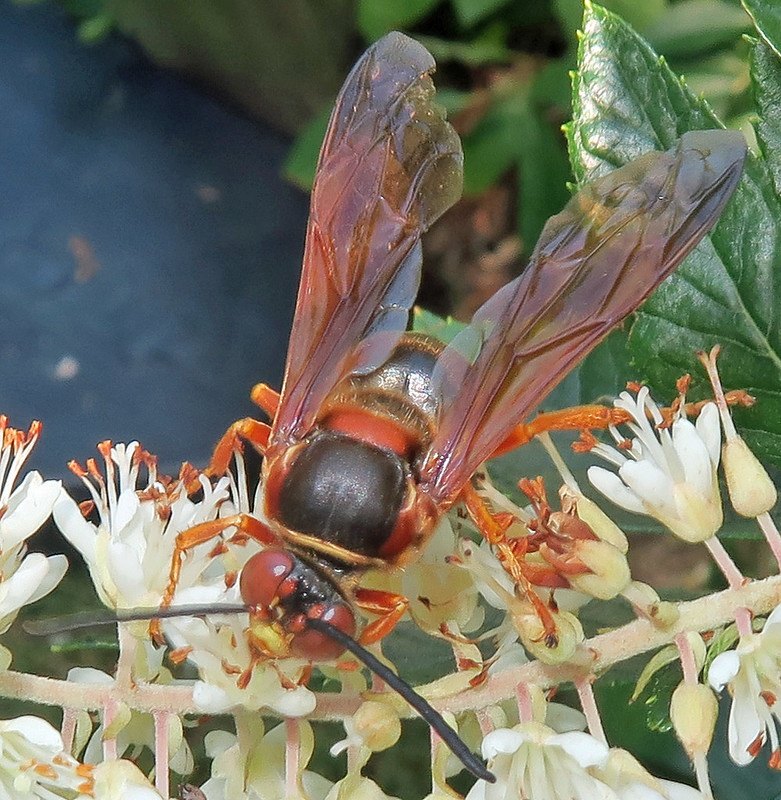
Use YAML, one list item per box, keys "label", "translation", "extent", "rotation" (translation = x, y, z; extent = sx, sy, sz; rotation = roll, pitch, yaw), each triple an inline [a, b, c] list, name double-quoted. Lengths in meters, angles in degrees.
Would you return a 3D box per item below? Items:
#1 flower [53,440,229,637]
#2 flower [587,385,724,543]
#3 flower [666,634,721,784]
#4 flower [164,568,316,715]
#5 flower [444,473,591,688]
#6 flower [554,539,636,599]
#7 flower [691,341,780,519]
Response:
- label: "flower"
  translation: [-0.262, 0.123, 1.296]
  extent: [0.210, 0.059, 0.185]
  rotation: [13, 47, -24]
- label: "flower"
  translation: [0.295, 0.078, 1.270]
  extent: [0.053, 0.149, 0.174]
  rotation: [39, 27, -35]
- label: "flower"
  translation: [0.284, 0.300, 1.178]
  extent: [0.035, 0.041, 0.154]
  rotation: [-23, 105, -57]
- label: "flower"
  translation: [-0.147, 0.260, 1.210]
  extent: [0.113, 0.059, 0.130]
  rotation: [-21, 72, -13]
- label: "flower"
  translation: [0.131, 0.173, 1.239]
  extent: [0.064, 0.151, 0.189]
  rotation: [15, 46, -48]
- label: "flower"
  translation: [0.207, 0.165, 1.210]
  extent: [0.061, 0.041, 0.051]
  rotation: [3, 69, -5]
- label: "flower"
  translation: [0.348, 0.027, 1.282]
  extent: [0.049, 0.053, 0.184]
  rotation: [-17, 63, 8]
